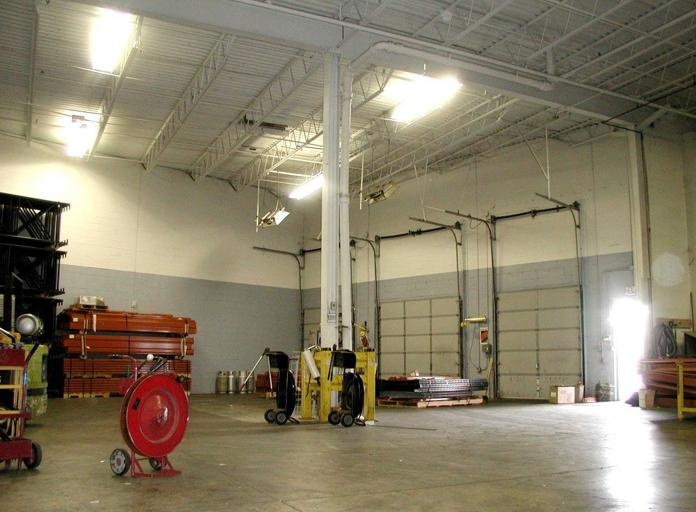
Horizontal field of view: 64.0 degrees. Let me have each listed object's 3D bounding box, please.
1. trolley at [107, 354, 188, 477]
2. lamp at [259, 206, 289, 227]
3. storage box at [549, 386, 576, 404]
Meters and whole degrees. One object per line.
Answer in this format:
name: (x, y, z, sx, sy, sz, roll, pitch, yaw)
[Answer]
trolley: (-2.488, 2.063, 7.104, 0.827, 1.484, 0.823, 6, -11, -23)
lamp: (-3.496, -1.801, 25.844, 1.229, 0.526, 0.718, -18, 27, 26)
storage box: (7.039, 4.532, 18.182, 1.051, 0.553, 0.493, 7, -12, -25)
